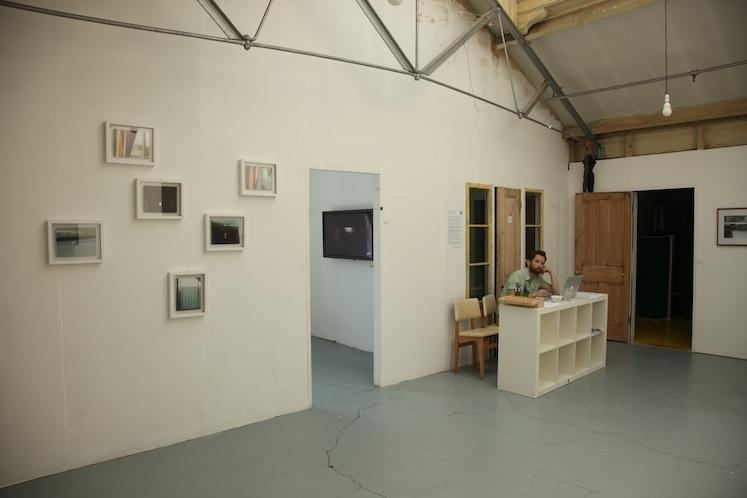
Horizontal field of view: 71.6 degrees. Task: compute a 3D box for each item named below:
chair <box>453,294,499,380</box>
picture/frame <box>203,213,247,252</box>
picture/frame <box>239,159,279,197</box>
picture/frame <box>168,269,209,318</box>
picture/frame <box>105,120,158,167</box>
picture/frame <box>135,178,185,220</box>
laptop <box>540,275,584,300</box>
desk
[{"bbox_3d":[1.648,1.359,8.186,0.605,1.125,0.837,-1,-1,43],"label":"chair"},{"bbox_3d":[-1.795,-0.207,6.145,0.437,0.443,0.057,0,2,-36],"label":"picture/frame"},{"bbox_3d":[-1.432,-0.876,6.325,0.457,0.426,0.048,-1,-2,-40],"label":"picture/frame"},{"bbox_3d":[-2.167,0.504,5.970,0.527,0.736,0.056,1,-4,-38],"label":"picture/frame"},{"bbox_3d":[-2.688,-1.165,5.677,0.521,0.514,0.054,0,0,-36],"label":"picture/frame"},{"bbox_3d":[-2.403,-0.551,5.841,0.470,0.475,0.054,-1,-12,-23],"label":"picture/frame"},{"bbox_3d":[2.858,0.591,8.050,0.465,0.313,0.479,-1,3,-31],"label":"laptop"},{"bbox_3d":[2.784,1.353,7.941,2.061,1.263,0.632,-4,6,-41],"label":"desk"}]
